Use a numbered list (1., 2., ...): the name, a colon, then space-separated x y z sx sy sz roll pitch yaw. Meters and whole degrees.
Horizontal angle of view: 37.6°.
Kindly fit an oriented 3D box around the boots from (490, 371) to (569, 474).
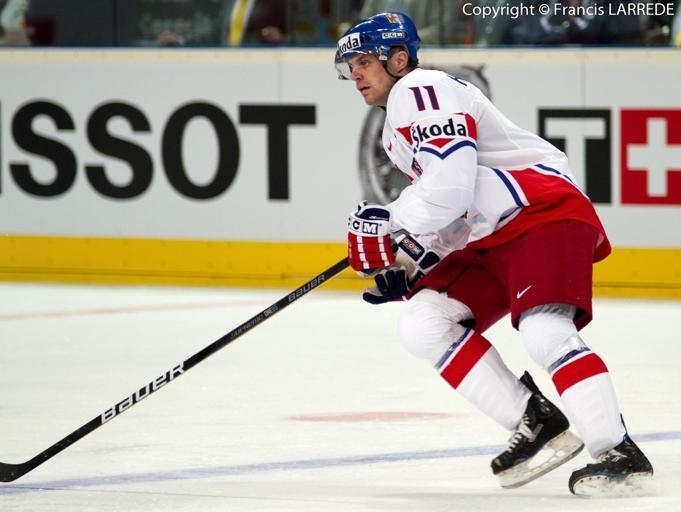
1. boots: 0.607 0.540 3.164 0.172 0.290 0.196 11 18 42

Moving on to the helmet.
1. helmet: 0.133 -0.705 3.357 0.277 0.191 0.212 -4 3 4

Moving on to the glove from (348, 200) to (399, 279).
1. glove: 0.109 -0.063 3.360 0.153 0.250 0.183 1 17 3
